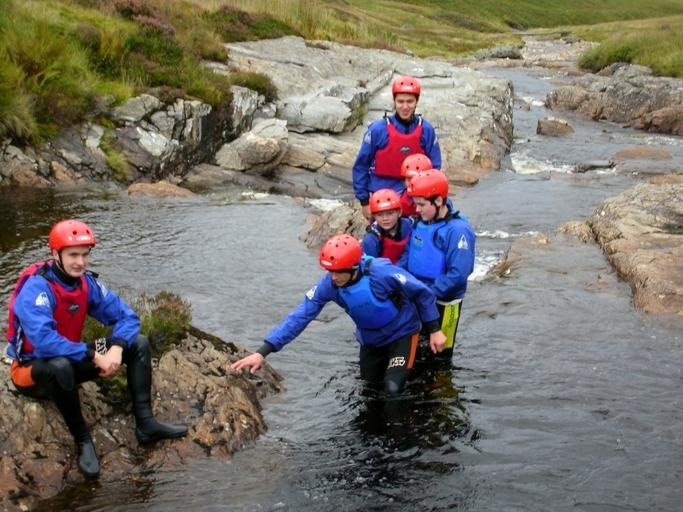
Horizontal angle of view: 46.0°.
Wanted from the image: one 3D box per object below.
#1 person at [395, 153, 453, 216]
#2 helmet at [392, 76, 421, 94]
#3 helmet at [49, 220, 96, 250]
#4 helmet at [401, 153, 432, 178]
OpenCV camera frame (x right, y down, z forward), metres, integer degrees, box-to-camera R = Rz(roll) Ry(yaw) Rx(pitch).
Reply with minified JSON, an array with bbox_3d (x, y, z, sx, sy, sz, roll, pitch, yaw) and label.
[{"bbox_3d":[1.577,-1.267,13.959,0.794,1.013,1.064,-1,-6,11],"label":"person"},{"bbox_3d":[1.160,-3.011,14.318,0.413,0.356,0.372,-1,23,-8],"label":"helmet"},{"bbox_3d":[-3.707,-0.293,10.914,0.536,0.382,0.418,3,11,36],"label":"helmet"},{"bbox_3d":[1.285,-1.508,13.682,0.379,0.475,0.390,9,-19,22],"label":"helmet"}]
